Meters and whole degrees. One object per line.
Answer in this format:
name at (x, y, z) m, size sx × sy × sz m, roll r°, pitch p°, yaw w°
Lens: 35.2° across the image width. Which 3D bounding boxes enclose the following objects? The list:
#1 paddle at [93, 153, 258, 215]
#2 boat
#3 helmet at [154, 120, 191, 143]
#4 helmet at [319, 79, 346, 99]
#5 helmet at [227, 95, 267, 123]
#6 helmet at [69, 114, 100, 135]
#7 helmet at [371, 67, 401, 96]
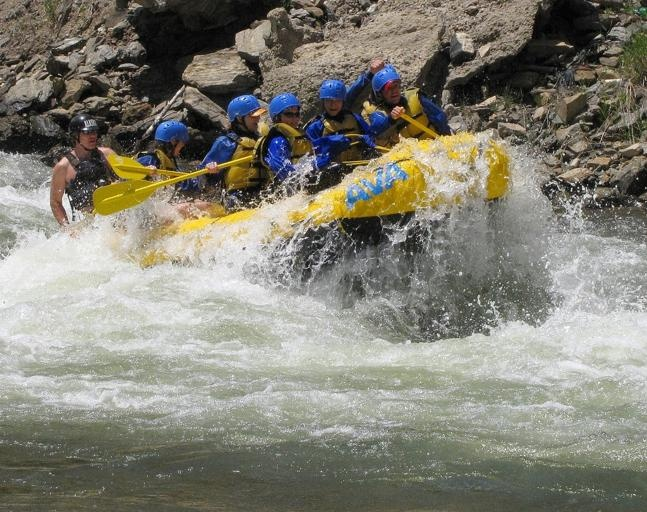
paddle at (-1.561, -0.745, 10.780) m, size 2.026 × 0.319 × 0.091 m, roll -16°, pitch 26°, yaw -15°
boat at (0.103, -0.504, 9.816) m, size 2.912 × 0.489 × 1.474 m, roll -25°, pitch -7°, yaw 16°
helmet at (-1.690, -1.397, 11.578) m, size 0.355 × 0.201 × 0.255 m, roll -5°, pitch 18°, yaw -26°
helmet at (0.108, -1.683, 10.382) m, size 0.187 × 0.176 × 0.244 m, roll 2°, pitch 21°, yaw 2°
helmet at (-0.840, -1.559, 10.875) m, size 0.395 × 0.187 × 0.271 m, roll -16°, pitch 6°, yaw 14°
helmet at (-2.559, -1.414, 10.994) m, size 0.280 × 0.129 × 0.194 m, roll -6°, pitch -1°, yaw 18°
helmet at (0.652, -1.804, 10.526) m, size 0.214 × 0.245 × 0.292 m, roll -27°, pitch -21°, yaw -38°
